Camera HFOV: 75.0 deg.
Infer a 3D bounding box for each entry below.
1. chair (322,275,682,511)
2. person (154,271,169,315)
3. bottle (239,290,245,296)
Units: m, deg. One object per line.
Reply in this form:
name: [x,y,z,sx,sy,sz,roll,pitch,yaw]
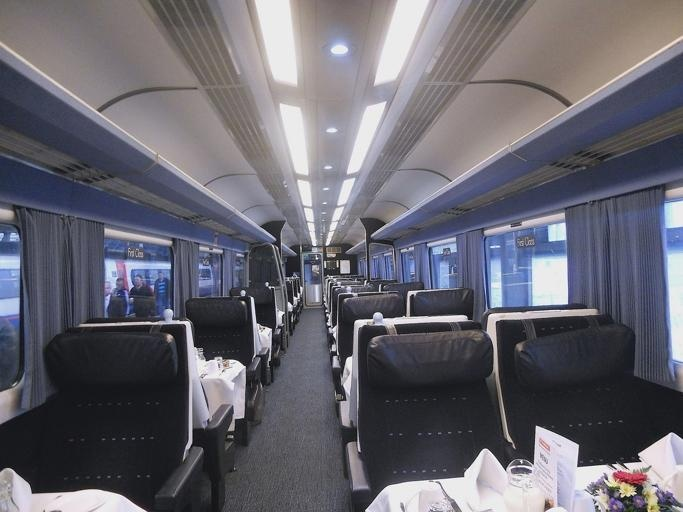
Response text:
chair: [1.413,1.173,3.618,2.634,1.266,0.576,-1,4,-8]
person: [-3.041,0.665,7.481,0.235,1.042,0.106,-6,41,-27]
bottle: [-1.764,0.659,7.846,0.112,0.123,0.028,14,-3,23]
